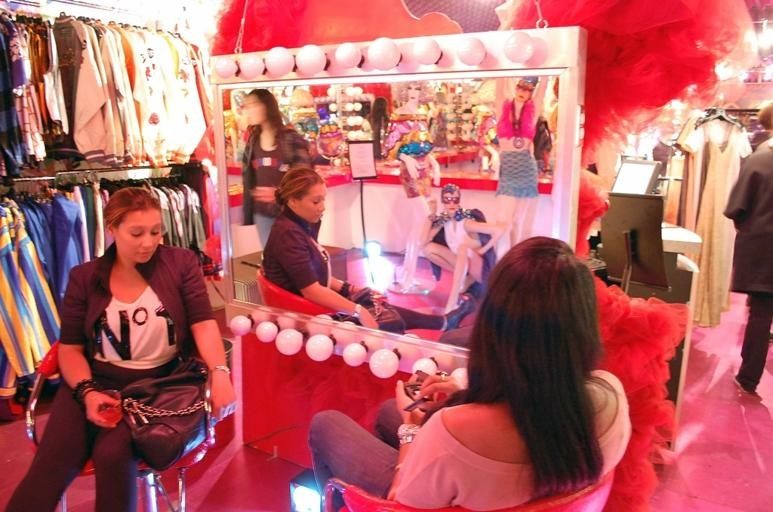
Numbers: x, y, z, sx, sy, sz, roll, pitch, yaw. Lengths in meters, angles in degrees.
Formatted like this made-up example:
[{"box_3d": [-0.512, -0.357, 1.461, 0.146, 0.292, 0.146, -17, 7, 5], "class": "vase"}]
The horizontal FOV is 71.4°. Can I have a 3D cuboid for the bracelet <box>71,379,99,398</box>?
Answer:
[{"box_3d": [-1.256, 0.551, 2.253, 0.076, 0.075, 0.074, -34, 40, -3], "class": "bracelet"}]

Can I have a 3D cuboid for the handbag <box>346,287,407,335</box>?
[{"box_3d": [-0.032, 0.236, 2.362, 0.238, 0.145, 0.092, 33, 69, 21], "class": "handbag"}]

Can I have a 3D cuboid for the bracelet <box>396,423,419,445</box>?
[{"box_3d": [0.074, 0.630, 1.910, 0.077, 0.065, 0.064, -20, -9, 28], "class": "bracelet"}]

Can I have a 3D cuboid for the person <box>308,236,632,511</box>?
[{"box_3d": [0.257, 0.422, 1.824, 0.945, 1.010, 0.602, 12, 18, 38], "class": "person"}]

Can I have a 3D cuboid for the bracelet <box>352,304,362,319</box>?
[{"box_3d": [-0.129, 0.247, 2.399, 0.020, 0.056, 0.044, 5, 1, -36], "class": "bracelet"}]

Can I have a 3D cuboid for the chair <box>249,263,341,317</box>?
[{"box_3d": [-0.481, 0.152, 2.557, 0.309, 0.261, 0.232, 0, 14, -9], "class": "chair"}]

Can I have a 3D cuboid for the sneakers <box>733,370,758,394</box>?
[{"box_3d": [2.466, 0.868, 3.723, 0.073, 0.079, 0.191, -5, 15, 1], "class": "sneakers"}]

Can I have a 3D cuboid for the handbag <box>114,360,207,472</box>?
[{"box_3d": [-0.912, 0.670, 2.283, 0.359, 0.310, 0.331, -8, 17, -33], "class": "handbag"}]

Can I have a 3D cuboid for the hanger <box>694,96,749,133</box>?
[{"box_3d": [2.976, -1.218, 4.742, 0.662, 0.193, 0.283, -10, 17, -38], "class": "hanger"}]

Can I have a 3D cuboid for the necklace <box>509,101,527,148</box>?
[{"box_3d": [0.490, -0.479, 1.995, 0.051, 0.160, 0.036, 3, 15, 9], "class": "necklace"}]
